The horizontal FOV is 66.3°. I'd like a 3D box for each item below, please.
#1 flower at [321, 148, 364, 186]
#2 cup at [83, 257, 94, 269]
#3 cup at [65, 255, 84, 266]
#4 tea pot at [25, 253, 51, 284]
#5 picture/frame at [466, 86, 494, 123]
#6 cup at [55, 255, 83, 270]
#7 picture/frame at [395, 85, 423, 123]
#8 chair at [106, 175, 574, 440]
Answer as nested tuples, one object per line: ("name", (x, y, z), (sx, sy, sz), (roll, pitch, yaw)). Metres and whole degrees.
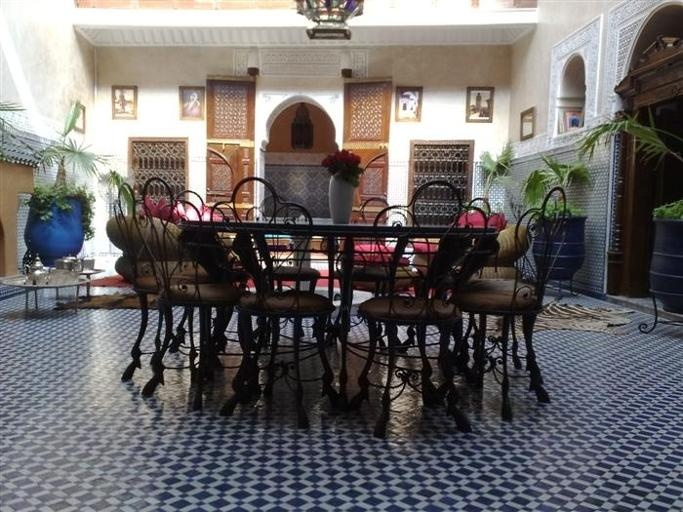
("flower", (0.004, -0.616, 3.512), (0.281, 0.204, 0.258), (-1, 10, 29))
("cup", (-3.035, 0.095, 6.348), (0.143, 0.123, 0.135), (2, 0, 0))
("cup", (-3.168, 0.054, 6.222), (0.142, 0.067, 0.141), (2, 0, 0))
("tea pot", (-2.948, 0.115, 5.101), (0.172, 0.225, 0.168), (6, 9, -1))
("picture/frame", (2.495, -2.736, 9.438), (0.521, 0.638, 0.048), (14, 30, 37))
("cup", (-3.134, 0.077, 6.060), (0.173, 0.086, 0.218), (0, -3, 29))
("picture/frame", (1.237, -2.782, 9.479), (0.734, 0.757, 0.058), (2, 7, 5))
("chair", (0.015, 0.146, 3.885), (2.762, 1.458, 2.397), (1, 10, -3))
